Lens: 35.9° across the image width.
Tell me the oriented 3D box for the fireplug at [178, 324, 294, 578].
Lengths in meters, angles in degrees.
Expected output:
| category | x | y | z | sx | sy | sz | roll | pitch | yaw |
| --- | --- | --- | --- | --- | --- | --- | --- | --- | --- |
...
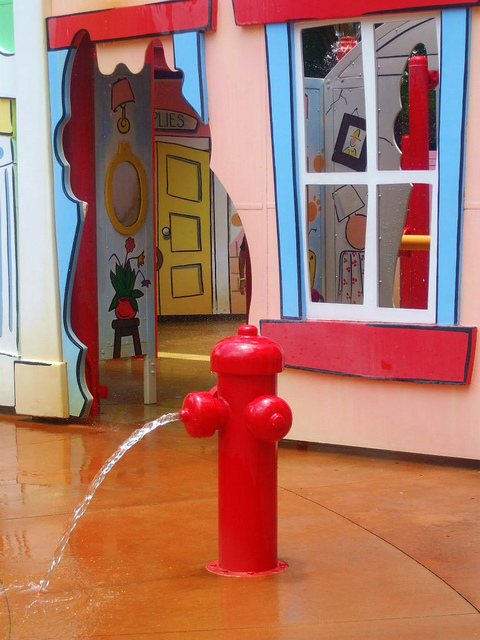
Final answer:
| category | x | y | z | sx | sy | sz | roll | pitch | yaw |
| --- | --- | --- | --- | --- | --- | --- | --- | --- | --- |
| fireplug | -0.015 | 0.432 | 2.358 | 0.347 | 0.819 | 0.291 | 0 | 1 | 0 |
